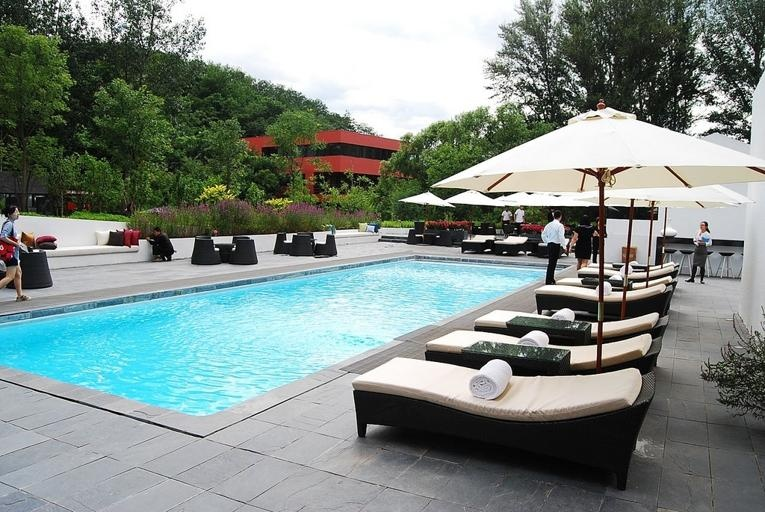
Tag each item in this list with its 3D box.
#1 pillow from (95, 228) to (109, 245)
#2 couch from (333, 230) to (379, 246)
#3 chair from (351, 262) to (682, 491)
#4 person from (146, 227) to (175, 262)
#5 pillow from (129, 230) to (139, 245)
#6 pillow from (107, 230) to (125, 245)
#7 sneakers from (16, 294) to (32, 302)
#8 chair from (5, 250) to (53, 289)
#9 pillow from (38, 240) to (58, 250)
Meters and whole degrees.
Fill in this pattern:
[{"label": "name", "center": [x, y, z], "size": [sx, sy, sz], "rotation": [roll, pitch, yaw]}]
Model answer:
[{"label": "pillow", "center": [-9.464, -0.623, 15.685], "size": [0.314, 0.574, 0.573], "rotation": [0, 5, 43]}, {"label": "couch", "center": [-1.436, -0.937, 25.361], "size": [1.146, 0.625, 4.056], "rotation": [3, 8, 23]}, {"label": "chair", "center": [1.221, 1.263, 4.621], "size": [2.603, 0.776, 1.270], "rotation": [3, 5, 22]}, {"label": "person", "center": [-7.533, -0.382, 15.821], "size": [0.823, 1.167, 0.516], "rotation": [6, 11, 34]}, {"label": "pillow", "center": [-8.433, -0.603, 15.769], "size": [0.491, 0.412, 0.248], "rotation": [1, -13, -26]}, {"label": "pillow", "center": [-8.956, -0.611, 15.641], "size": [0.485, 0.457, 0.172], "rotation": [-1, -10, -11]}, {"label": "sneakers", "center": [-7.414, 0.875, 9.660], "size": [0.311, 0.127, 0.137], "rotation": [-2, 5, -22]}, {"label": "chair", "center": [-8.311, 0.330, 11.296], "size": [0.949, 0.870, 0.941], "rotation": [0, 1, 14]}, {"label": "pillow", "center": [-9.972, -0.300, 13.825], "size": [0.457, 0.250, 0.365], "rotation": [-6, 10, -41]}]
